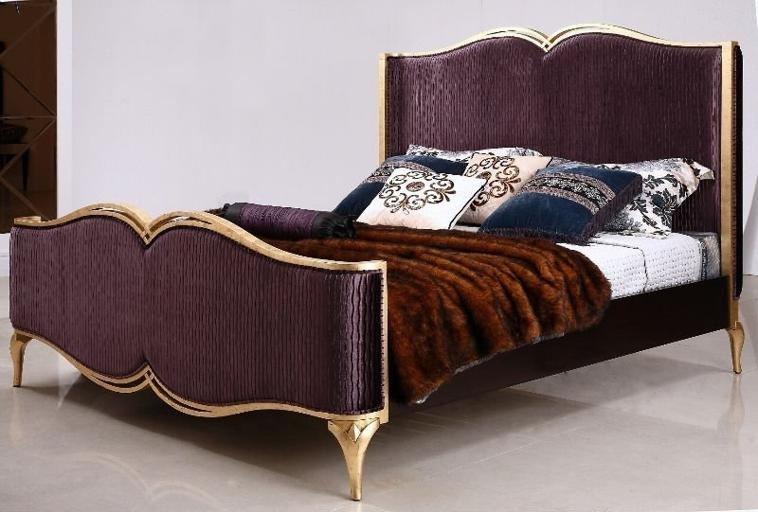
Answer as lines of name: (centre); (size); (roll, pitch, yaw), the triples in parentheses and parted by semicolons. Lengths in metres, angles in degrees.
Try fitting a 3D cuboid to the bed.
bed: (0.208, -0.360, 4.218); (3.504, 2.084, 3.159); (7, 14, 28)
